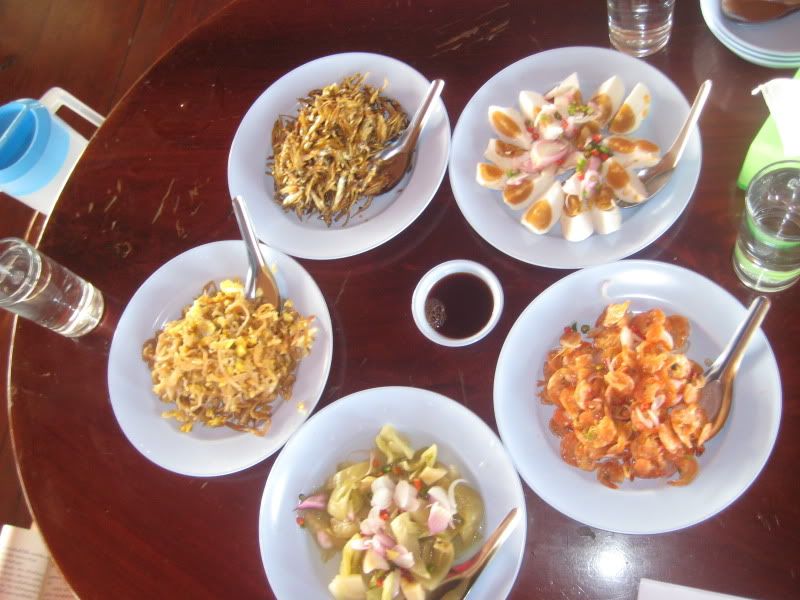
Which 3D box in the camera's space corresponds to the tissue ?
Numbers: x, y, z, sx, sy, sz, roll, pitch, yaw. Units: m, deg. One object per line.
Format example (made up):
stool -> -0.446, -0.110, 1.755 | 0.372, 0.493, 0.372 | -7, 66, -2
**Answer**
tissue  -> 1.319, -0.600, 2.430 | 0.167, 0.426, 0.183 | 13, 78, 26
